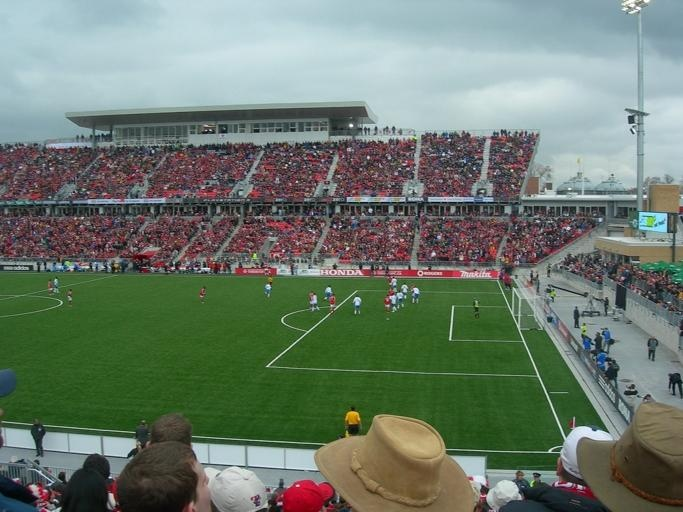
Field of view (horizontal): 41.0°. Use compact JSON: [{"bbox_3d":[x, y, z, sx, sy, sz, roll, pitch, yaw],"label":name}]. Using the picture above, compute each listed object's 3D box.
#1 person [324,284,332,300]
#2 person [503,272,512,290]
[{"bbox_3d":[-1.145,2.751,68.703,0.801,0.999,1.939,-3,-3,3],"label":"person"},{"bbox_3d":[13.408,2.117,74.696,0.589,1.158,1.423,-1,10,8],"label":"person"}]
